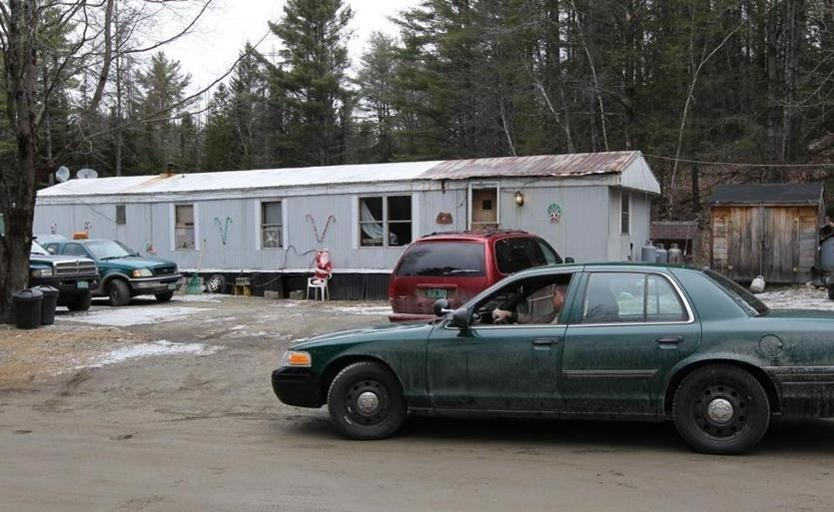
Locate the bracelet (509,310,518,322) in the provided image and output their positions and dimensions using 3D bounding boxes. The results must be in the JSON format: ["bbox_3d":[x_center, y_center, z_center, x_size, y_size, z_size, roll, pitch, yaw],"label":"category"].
[{"bbox_3d":[2.264,1.444,27.488,0.172,0.228,0.090,3,-17,-4],"label":"bracelet"}]

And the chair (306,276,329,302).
[{"bbox_3d":[-3.648,1.121,40.097,0.878,1.100,0.826,-3,-8,25],"label":"chair"}]

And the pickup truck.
[{"bbox_3d":[-10.718,0.491,39.386,4.160,1.706,2.318,-1,-1,31],"label":"pickup truck"}]

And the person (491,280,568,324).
[{"bbox_3d":[2.678,1.089,27.467,1.393,0.536,1.019,0,5,19],"label":"person"}]
